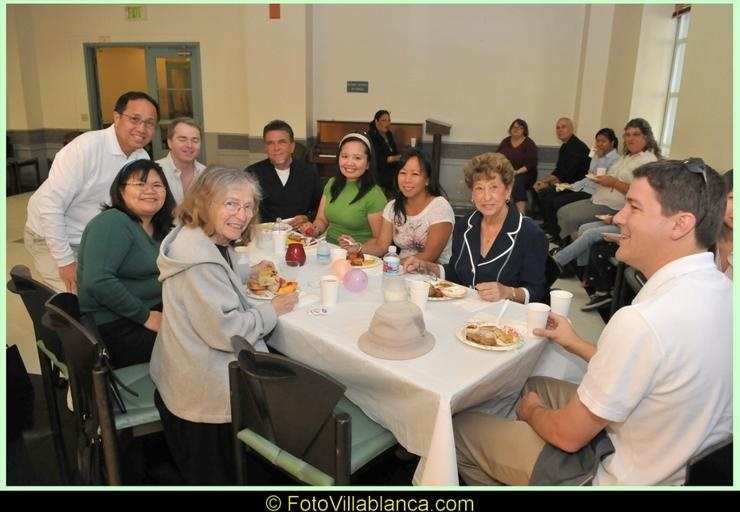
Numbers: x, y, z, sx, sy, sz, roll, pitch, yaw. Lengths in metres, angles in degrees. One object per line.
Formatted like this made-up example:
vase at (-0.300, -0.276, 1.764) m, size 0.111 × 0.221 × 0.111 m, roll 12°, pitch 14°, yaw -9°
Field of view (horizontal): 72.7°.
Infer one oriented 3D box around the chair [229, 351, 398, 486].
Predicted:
chair at (-0.204, 0.568, 1.793) m, size 0.342 × 0.542 × 0.398 m, roll 22°, pitch 40°, yaw 29°

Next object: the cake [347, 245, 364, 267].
cake at (-0.085, -0.004, 2.882) m, size 0.083 × 0.114 × 0.053 m, roll 12°, pitch 12°, yaw 36°

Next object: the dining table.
dining table at (0.049, 0.372, 2.078) m, size 1.111 × 0.253 × 0.742 m, roll 20°, pitch 31°, yaw 38°

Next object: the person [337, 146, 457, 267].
person at (0.292, -0.416, 3.462) m, size 0.770 × 0.886 × 0.628 m, roll -11°, pitch 25°, yaw -30°

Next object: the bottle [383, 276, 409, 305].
bottle at (0.103, 0.159, 2.309) m, size 0.117 × 0.117 × 0.124 m, roll -1°, pitch -4°, yaw -7°

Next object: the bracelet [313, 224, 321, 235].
bracelet at (-0.394, -0.195, 3.692) m, size 0.067 × 0.049 × 0.053 m, roll -7°, pitch 16°, yaw -24°

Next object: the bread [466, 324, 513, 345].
bread at (0.489, 0.319, 2.053) m, size 0.103 × 0.027 × 0.106 m, roll 13°, pitch 17°, yaw 34°

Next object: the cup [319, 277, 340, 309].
cup at (-0.198, 0.173, 2.313) m, size 0.094 × 0.131 × 0.138 m, roll -2°, pitch 14°, yaw -11°

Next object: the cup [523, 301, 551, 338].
cup at (0.698, 0.259, 2.094) m, size 0.119 × 0.120 × 0.119 m, roll 4°, pitch 7°, yaw -1°
